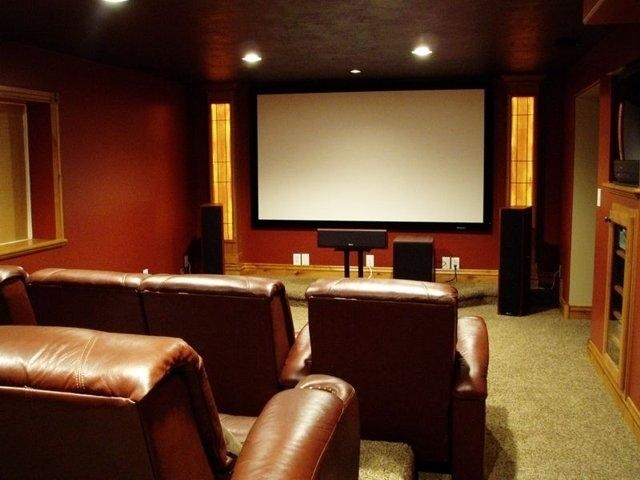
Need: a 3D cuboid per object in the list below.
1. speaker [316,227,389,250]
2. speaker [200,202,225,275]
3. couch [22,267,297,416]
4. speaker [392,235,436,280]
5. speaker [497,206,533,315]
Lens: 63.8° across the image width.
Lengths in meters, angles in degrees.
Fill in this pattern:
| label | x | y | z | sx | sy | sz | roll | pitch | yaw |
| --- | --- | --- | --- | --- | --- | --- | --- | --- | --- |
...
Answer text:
| label | x | y | z | sx | sy | sz | roll | pitch | yaw |
| --- | --- | --- | --- | --- | --- | --- | --- | --- | --- |
| speaker | 0.335 | -0.006 | 5.371 | 0.715 | 0.257 | 0.091 | 5 | 13 | 9 |
| speaker | -1.181 | -0.001 | 5.710 | 0.245 | 0.803 | 0.367 | -4 | 14 | -26 |
| couch | -0.766 | 0.573 | 2.600 | 1.286 | 0.842 | 0.754 | 3 | 0 | 5 |
| speaker | 0.949 | 0.182 | 5.262 | 0.445 | 0.695 | 0.461 | 1 | 1 | 11 |
| speaker | 1.893 | 0.221 | 5.024 | 0.355 | 1.061 | 0.118 | 7 | 13 | 17 |
